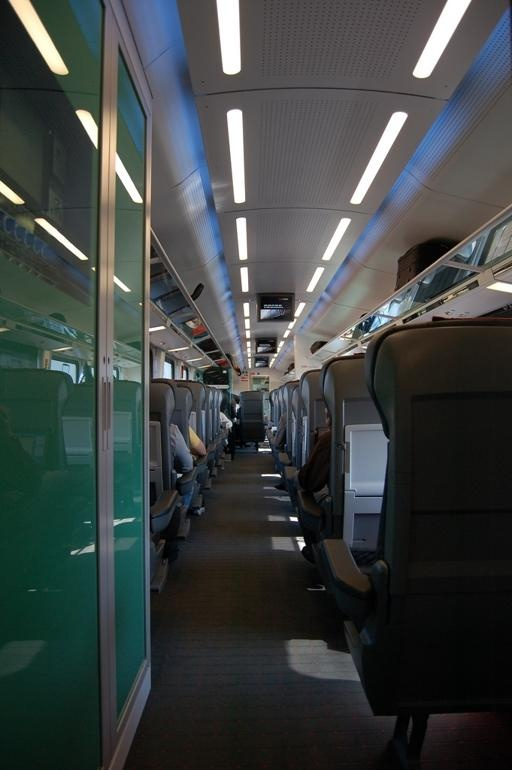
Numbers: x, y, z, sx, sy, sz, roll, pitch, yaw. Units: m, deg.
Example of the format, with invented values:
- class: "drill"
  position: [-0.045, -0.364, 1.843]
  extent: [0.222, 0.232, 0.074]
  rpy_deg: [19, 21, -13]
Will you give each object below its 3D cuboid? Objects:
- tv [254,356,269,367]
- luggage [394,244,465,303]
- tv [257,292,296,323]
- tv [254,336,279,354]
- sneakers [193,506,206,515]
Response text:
- class: "tv"
  position: [0.294, -1.436, 26.119]
  extent: [0.740, 0.858, 0.446]
  rpy_deg: [0, -2, 4]
- class: "luggage"
  position: [1.992, -1.384, 5.682]
  extent: [0.614, 0.667, 1.048]
  rpy_deg: [6, 15, 21]
- class: "tv"
  position: [0.406, -1.608, 9.924]
  extent: [0.703, 0.452, 0.721]
  rpy_deg: [-3, 2, 0]
- class: "tv"
  position: [0.439, -1.502, 17.734]
  extent: [0.729, 0.436, 0.773]
  rpy_deg: [-3, 0, -6]
- class: "sneakers"
  position: [-0.787, 1.712, 6.477]
  extent: [0.125, 0.068, 0.187]
  rpy_deg: [3, 1, 2]
